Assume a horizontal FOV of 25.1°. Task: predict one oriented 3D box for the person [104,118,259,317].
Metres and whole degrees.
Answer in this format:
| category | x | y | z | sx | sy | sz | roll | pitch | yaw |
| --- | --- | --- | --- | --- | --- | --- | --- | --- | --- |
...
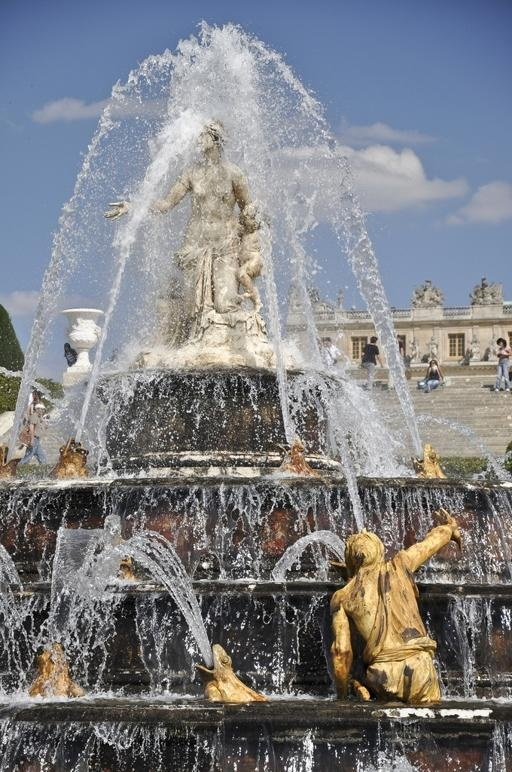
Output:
| category | x | y | z | sx | sy | sz | roll | pitch | yaw |
| --- | --- | --- | --- | --- | --- | --- | --- | --- | --- |
| person | -0.369 | -1.344 | 9.617 | 0.787 | 1.675 | 0.398 | -2 | -10 | 1 |
